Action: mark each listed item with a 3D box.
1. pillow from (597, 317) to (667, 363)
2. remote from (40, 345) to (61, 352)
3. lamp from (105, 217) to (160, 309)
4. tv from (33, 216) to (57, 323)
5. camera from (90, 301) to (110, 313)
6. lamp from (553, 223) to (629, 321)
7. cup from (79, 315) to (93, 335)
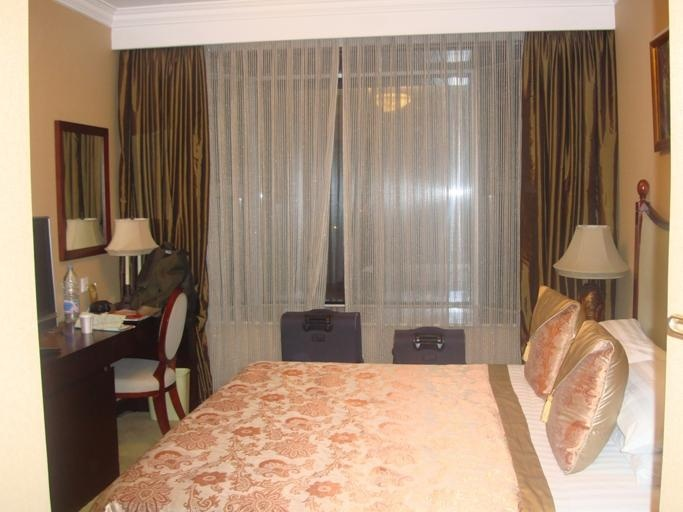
[{"bbox_3d":[1.449,0.420,2.615,0.176,0.090,0.269,0,15,-1],"label":"pillow"},{"bbox_3d":[-1.663,0.535,2.986,0.068,0.020,0.076,2,1,-2],"label":"remote"},{"bbox_3d":[-1.668,0.057,4.039,0.344,0.681,0.357,8,3,35],"label":"lamp"},{"bbox_3d":[-1.896,0.106,3.350,0.104,0.700,0.237,-6,10,-31],"label":"tv"},{"bbox_3d":[-1.788,0.374,3.899,0.108,0.099,0.086,-17,17,-31],"label":"camera"},{"bbox_3d":[1.681,0.110,3.491,0.459,0.790,0.446,9,17,43],"label":"lamp"},{"bbox_3d":[-1.626,0.437,3.347,0.105,0.123,0.075,2,-2,-32],"label":"cup"}]
